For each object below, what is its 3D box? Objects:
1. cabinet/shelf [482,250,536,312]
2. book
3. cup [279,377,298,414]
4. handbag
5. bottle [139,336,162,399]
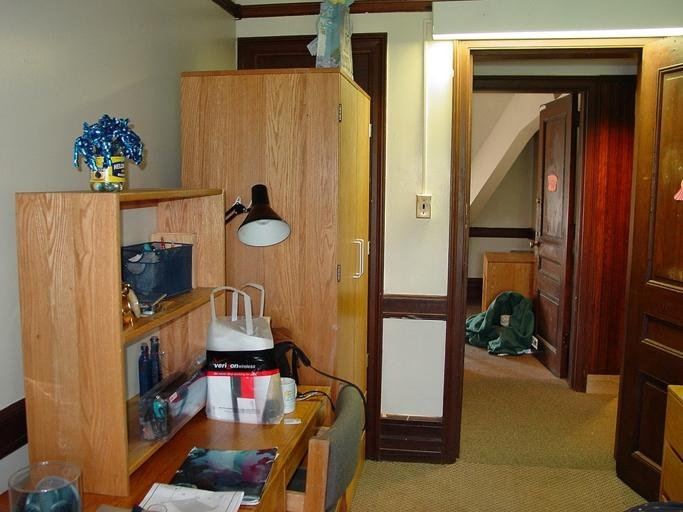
[{"bbox_3d":[1.852,0.295,5.951,0.573,0.877,0.438,1,8,8],"label":"cabinet/shelf"},{"bbox_3d":[-0.412,0.755,1.878,0.325,0.057,0.257,1,10,10],"label":"book"},{"bbox_3d":[-0.227,0.583,2.242,0.077,0.122,0.127,0,-1,-1],"label":"cup"},{"bbox_3d":[-0.411,0.374,2.268,0.336,0.545,0.350,0,10,1],"label":"handbag"},{"bbox_3d":[-0.843,0.469,2.342,0.095,0.224,0.133,-4,10,-22],"label":"bottle"}]
